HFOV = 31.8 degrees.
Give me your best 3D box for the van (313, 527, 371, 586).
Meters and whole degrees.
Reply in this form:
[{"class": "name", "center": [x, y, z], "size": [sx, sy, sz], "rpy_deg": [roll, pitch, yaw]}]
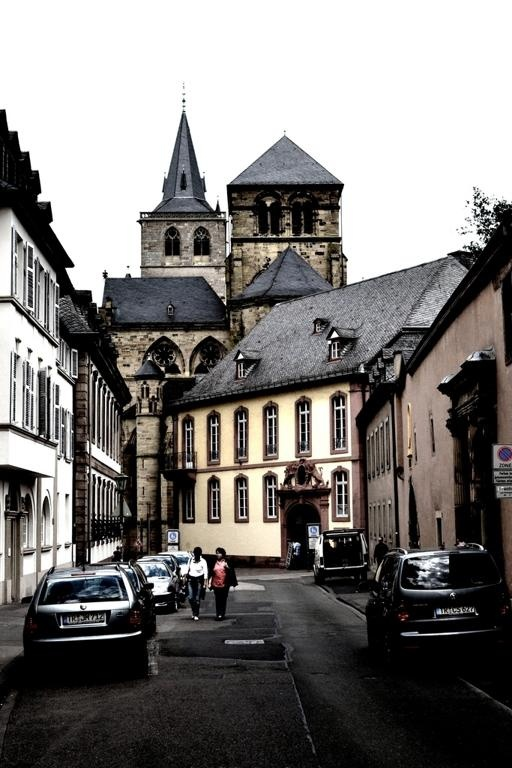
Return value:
[{"class": "van", "center": [3.333, 6.752, 35.165], "size": [1.999, 2.032, 1.568], "rpy_deg": [-6, -13, 12]}]
